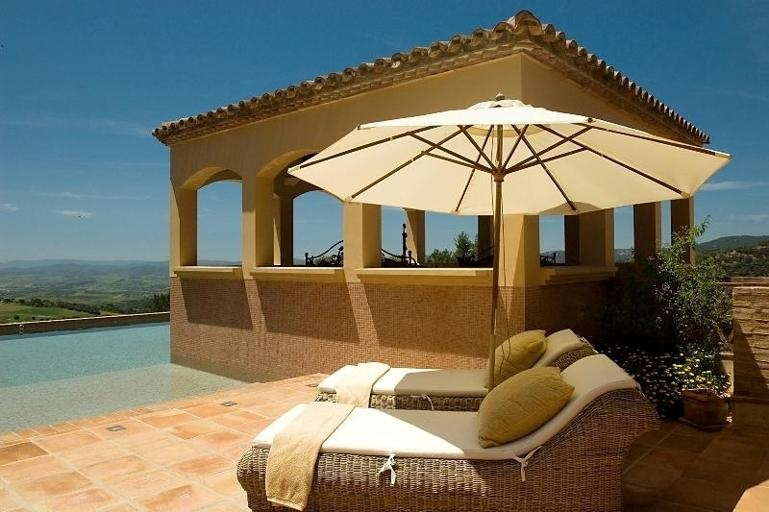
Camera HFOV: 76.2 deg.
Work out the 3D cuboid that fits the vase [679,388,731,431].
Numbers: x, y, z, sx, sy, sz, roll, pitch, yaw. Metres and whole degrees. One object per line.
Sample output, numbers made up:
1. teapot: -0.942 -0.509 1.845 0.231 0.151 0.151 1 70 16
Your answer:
1. vase: 4.333 2.093 6.648 0.471 0.404 0.544 -2 -6 2
